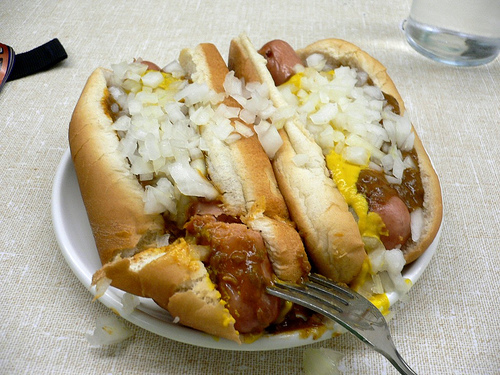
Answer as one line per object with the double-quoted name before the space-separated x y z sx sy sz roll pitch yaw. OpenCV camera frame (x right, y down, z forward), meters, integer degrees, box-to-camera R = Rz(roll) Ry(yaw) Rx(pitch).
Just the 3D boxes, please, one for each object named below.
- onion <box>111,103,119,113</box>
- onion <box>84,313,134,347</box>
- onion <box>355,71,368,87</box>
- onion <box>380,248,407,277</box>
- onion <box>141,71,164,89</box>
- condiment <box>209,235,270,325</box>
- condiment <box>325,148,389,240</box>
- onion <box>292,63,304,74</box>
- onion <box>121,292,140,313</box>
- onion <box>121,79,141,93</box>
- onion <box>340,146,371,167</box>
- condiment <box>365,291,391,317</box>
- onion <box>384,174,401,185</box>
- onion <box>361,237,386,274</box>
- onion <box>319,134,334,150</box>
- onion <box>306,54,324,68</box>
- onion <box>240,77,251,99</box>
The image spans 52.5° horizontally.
"onion" -0.558 -0.330 2.090 0.030 0.017 0.032 -4 58 -8
"onion" -0.533 0.546 1.896 0.134 0.041 0.132 42 75 16
"onion" 0.511 -0.504 2.322 0.067 0.025 0.071 -4 77 21
"onion" 0.546 0.276 1.925 0.081 0.032 0.099 4 67 -3
"onion" -0.402 -0.451 2.107 0.069 0.028 0.075 10 57 7
"condiment" -0.038 0.322 1.768 0.175 0.096 0.293 -8 68 -1
"condiment" 0.448 0.027 2.046 0.232 0.132 0.453 3 44 -15
"onion" 0.213 -0.531 2.251 0.035 0.012 0.048 5 55 8
"onion" -0.435 0.408 1.818 0.066 0.046 0.067 -12 68 -3
"onion" -0.497 -0.431 2.112 0.058 0.064 0.019 0 27 7
"onion" 0.420 -0.128 2.011 0.095 0.039 0.070 19 63 -7
"condiment" 0.483 0.426 1.906 0.069 0.038 0.098 -19 60 -10
"onion" 0.567 -0.034 2.016 0.062 0.019 0.032 29 55 2
"onion" 0.469 0.251 1.919 0.114 0.035 0.124 5 86 -11
"onion" 0.311 -0.190 2.067 0.077 0.055 0.045 1 29 15
"onion" 0.302 -0.603 2.385 0.070 0.049 0.085 6 54 13
"onion" -0.023 -0.418 2.133 0.051 0.016 0.082 -14 88 -35
